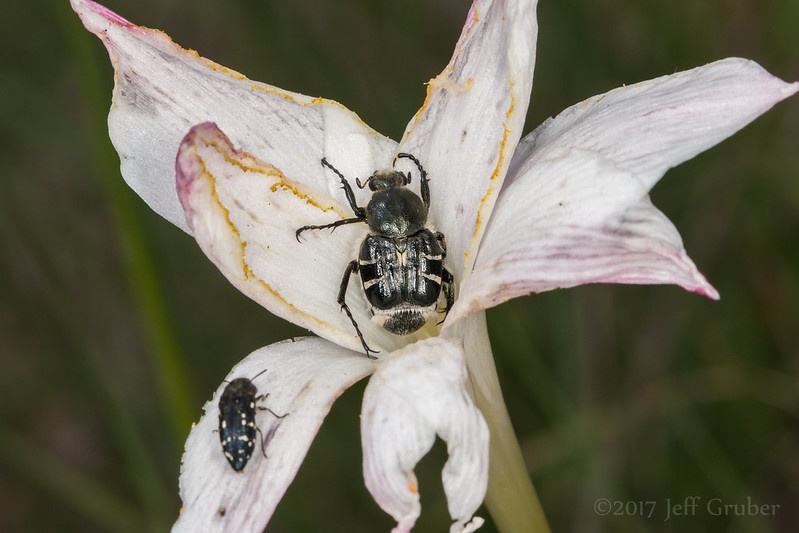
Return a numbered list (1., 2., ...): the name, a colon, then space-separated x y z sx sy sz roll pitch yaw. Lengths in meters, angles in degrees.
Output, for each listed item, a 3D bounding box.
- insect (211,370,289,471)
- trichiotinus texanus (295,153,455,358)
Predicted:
1. insect: -0.239 0.234 1.315 0.100 0.126 0.037 -20 -38 17
2. trichiotinus texanus: -0.022 -0.029 1.443 0.270 0.318 0.085 -8 -10 -22
